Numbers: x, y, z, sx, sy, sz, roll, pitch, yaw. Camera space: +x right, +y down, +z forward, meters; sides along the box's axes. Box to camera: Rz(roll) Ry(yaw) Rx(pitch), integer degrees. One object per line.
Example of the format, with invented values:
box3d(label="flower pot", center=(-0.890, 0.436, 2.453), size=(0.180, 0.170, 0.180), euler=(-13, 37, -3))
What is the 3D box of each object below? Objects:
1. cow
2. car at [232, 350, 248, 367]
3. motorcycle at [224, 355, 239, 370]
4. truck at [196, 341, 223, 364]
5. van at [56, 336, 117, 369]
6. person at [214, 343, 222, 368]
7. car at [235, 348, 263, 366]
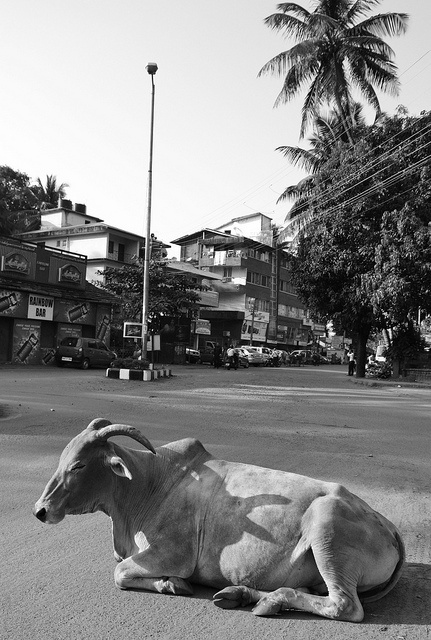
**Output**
box3d(label="cow", center=(-0.068, 0.812, 2.657), size=(1.795, 0.863, 0.780), euler=(2, -3, 25))
box3d(label="car", center=(1.940, 2.977, 41.425), size=(0.842, 0.938, 1.850), euler=(1, 0, 20))
box3d(label="motorcycle", center=(1.048, 2.818, 36.934), size=(0.681, 0.870, 2.523), euler=(4, -4, -2))
box3d(label="truck", center=(-0.457, 2.570, 42.959), size=(1.619, 1.685, 1.361), euler=(-2, -2, 20))
box3d(label="van", center=(-6.646, 1.728, 28.847), size=(1.493, 1.532, 2.559), euler=(1, -5, 38))
box3d(label="person", center=(0.122, 2.444, 37.839), size=(0.480, 1.520, 1.299), euler=(4, -4, 0))
box3d(label="car", center=(2.729, 2.918, 44.836), size=(1.188, 1.041, 2.706), euler=(0, 0, 19))
